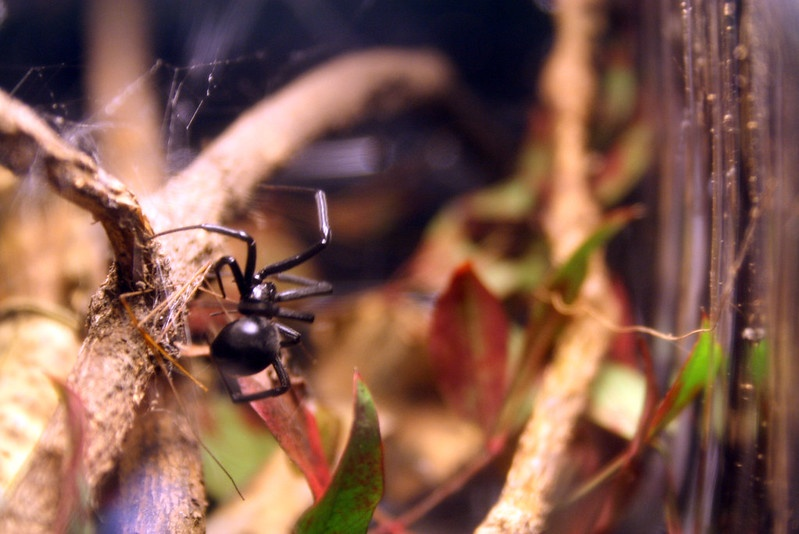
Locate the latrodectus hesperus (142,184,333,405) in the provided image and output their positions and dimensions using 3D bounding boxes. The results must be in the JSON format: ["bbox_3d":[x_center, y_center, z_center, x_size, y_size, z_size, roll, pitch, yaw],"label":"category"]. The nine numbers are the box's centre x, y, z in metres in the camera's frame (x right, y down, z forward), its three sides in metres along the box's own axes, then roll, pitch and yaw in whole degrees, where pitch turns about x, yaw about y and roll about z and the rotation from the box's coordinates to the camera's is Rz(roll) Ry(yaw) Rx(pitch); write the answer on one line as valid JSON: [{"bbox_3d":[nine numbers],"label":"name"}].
[{"bbox_3d":[-0.220,0.066,1.370,0.277,0.312,0.077,11,-26,-35],"label":"latrodectus hesperus"}]
